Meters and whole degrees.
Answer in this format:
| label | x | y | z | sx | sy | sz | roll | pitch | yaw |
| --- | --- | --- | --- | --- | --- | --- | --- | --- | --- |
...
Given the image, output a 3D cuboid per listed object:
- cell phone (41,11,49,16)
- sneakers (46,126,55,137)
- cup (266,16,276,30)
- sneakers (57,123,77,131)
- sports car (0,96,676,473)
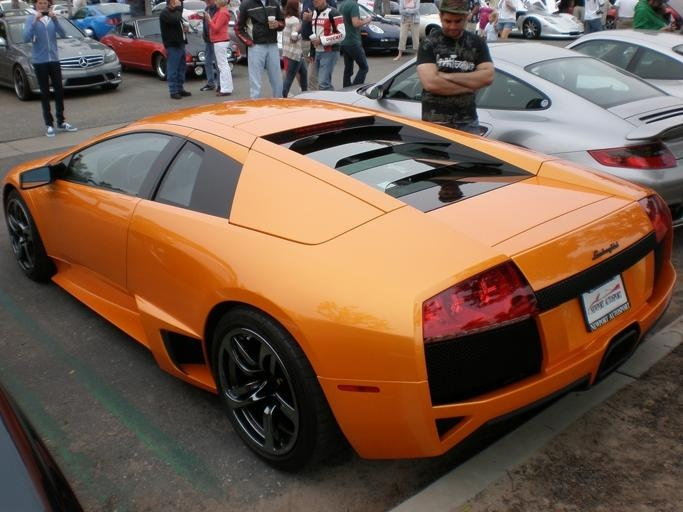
| label | x | y | z | sx | sy | sz | roll | pitch | yaw |
| --- | --- | --- | --- | --- | --- | --- | --- | --- | --- |
| cell phone | -5.274 | -4.276 | 9.233 | 0.049 | 0.064 | 0.154 | 2 | 24 | 10 |
| sneakers | -5.278 | -2.226 | 9.379 | 0.123 | 0.116 | 0.311 | -15 | 26 | -30 |
| cup | -1.343 | -4.504 | 10.117 | 0.163 | 0.239 | 0.112 | 0 | 26 | 5 |
| sneakers | -5.055 | -2.366 | 9.627 | 0.368 | 0.140 | 0.138 | 5 | 21 | 13 |
| sports car | -0.480 | -0.144 | 3.173 | 3.672 | 0.906 | 2.171 | 22 | 31 | 38 |
